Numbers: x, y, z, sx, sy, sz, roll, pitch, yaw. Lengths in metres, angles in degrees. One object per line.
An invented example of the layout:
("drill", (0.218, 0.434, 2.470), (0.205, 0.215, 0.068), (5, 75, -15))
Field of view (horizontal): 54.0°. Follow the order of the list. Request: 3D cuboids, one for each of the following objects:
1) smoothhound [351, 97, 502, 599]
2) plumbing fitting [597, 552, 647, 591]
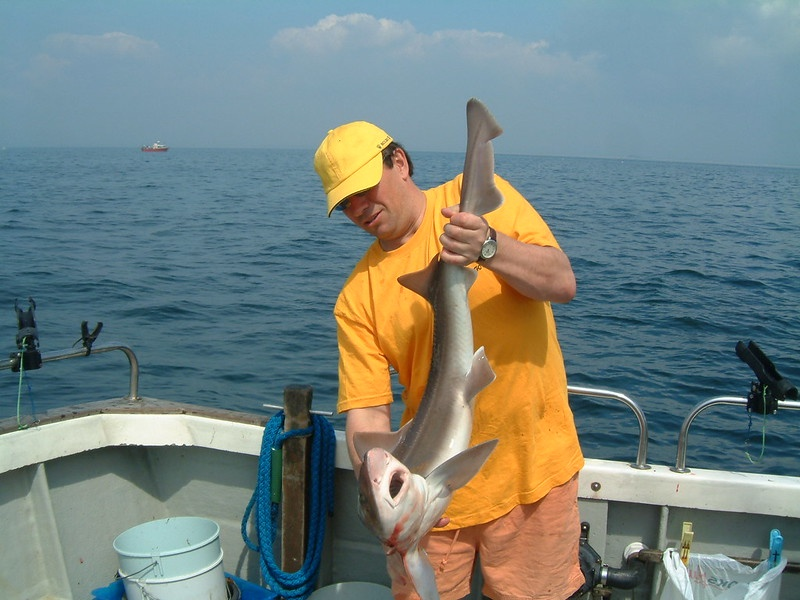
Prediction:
("smoothhound", (0.128, 0.227, 3.507), (0.683, 2.191, 0.549), (-2, 5, -7))
("plumbing fitting", (1.297, 1.587, 4.576), (0.219, 0.077, 0.201), (8, 34, 23))
